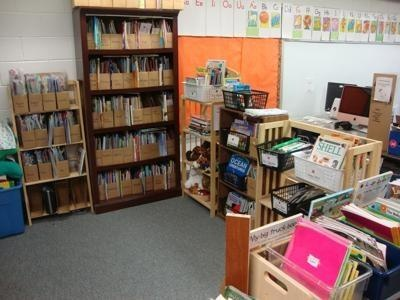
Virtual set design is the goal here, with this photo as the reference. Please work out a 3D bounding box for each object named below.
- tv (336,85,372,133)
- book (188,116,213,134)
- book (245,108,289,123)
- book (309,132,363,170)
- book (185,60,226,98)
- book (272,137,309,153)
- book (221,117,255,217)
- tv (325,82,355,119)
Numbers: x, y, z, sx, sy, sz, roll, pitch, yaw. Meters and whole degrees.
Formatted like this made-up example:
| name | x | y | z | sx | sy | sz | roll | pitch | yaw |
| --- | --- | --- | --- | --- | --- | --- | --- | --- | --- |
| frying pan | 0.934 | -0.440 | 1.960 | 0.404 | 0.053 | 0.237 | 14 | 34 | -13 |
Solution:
| name | x | y | z | sx | sy | sz | roll | pitch | yaw |
| --- | --- | --- | --- | --- | --- | --- | --- | --- | --- |
| tv | 1.929 | -0.499 | 3.796 | 0.183 | 0.540 | 0.516 | 2 | 17 | -37 |
| book | 0.049 | -0.380 | 3.959 | 0.200 | 0.136 | 0.262 | -13 | 23 | -39 |
| book | 0.689 | -0.358 | 3.097 | 0.233 | 0.077 | 0.237 | -9 | 15 | -37 |
| book | 1.120 | 0.043 | 2.521 | 0.081 | 0.321 | 0.314 | 12 | 2 | -42 |
| book | 0.058 | -0.881 | 3.907 | 0.411 | 0.552 | 0.555 | -9 | 20 | -22 |
| book | 0.855 | -0.043 | 2.830 | 0.407 | 0.068 | 0.222 | -12 | 19 | -24 |
| book | 0.458 | 0.227 | 3.538 | 0.252 | 1.164 | 0.545 | -9 | 16 | -21 |
| tv | 1.947 | -0.682 | 4.236 | 0.388 | 0.522 | 0.515 | -5 | 11 | -19 |
